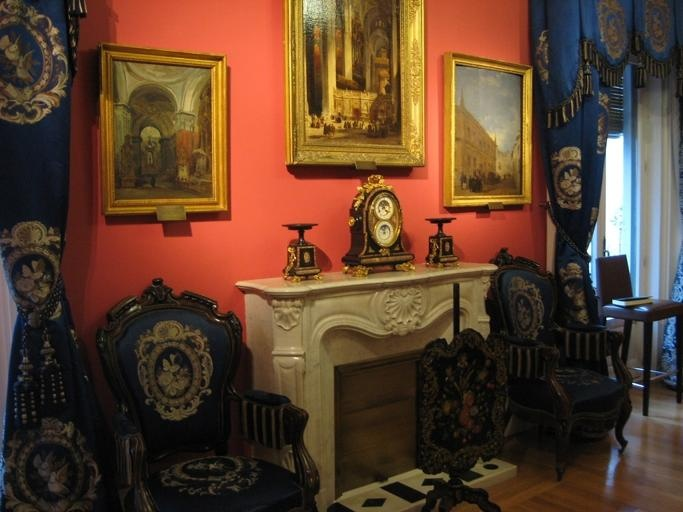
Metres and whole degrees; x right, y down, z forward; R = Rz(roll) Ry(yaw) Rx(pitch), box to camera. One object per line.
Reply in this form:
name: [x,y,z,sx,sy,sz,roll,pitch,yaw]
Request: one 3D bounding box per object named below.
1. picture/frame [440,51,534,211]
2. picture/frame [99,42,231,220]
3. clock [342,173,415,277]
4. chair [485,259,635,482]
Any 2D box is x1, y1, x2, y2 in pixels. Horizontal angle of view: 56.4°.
picture/frame: [1.081,-0.962,4.833,1.101,1.449,0.095,-3,4,-43]
picture/frame: [-1.036,-0.726,3.624,0.893,1.209,0.057,-3,7,-38]
clock: [0.223,-0.198,4.197,0.577,0.776,0.265,-6,7,-41]
chair: [1.563,0.741,4.705,0.926,1.364,0.943,-6,12,-35]
